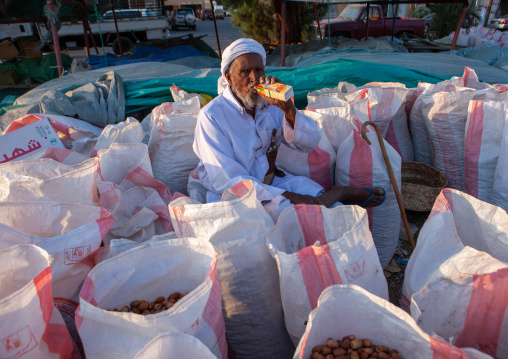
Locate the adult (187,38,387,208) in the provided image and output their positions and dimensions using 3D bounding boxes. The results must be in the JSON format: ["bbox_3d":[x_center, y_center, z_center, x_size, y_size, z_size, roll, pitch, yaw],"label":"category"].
[{"bbox_3d":[0.151,-0.405,2.439,1.202,1.162,0.823,10,23,25],"label":"adult"}]

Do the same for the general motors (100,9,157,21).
[{"bbox_3d":[-3.529,-4.721,9.532,1.093,0.303,0.759,-7,26,-12],"label":"general motors"}]

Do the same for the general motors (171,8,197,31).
[{"bbox_3d":[-4.367,-10.006,20.835,0.924,0.934,1.788,0,31,-6],"label":"general motors"}]

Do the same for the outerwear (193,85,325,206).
[{"bbox_3d":[0.077,-0.196,2.689,0.894,1.099,0.986,-14,24,-18],"label":"outerwear"}]

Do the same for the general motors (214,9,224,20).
[{"bbox_3d":[-3.184,-15.458,31.274,0.682,0.912,2.185,3,22,7],"label":"general motors"}]

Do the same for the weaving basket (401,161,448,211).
[{"bbox_3d":[1.501,0.040,3.098,0.386,0.224,0.511,-2,21,-3],"label":"weaving basket"}]

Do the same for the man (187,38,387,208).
[{"bbox_3d":[0.152,-0.406,2.442,1.201,1.162,0.817,10,23,25],"label":"man"}]

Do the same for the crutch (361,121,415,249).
[{"bbox_3d":[1.051,0.067,2.662,0.130,1.235,0.050,-13,11,28],"label":"crutch"}]

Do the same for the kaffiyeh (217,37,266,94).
[{"bbox_3d":[-0.118,-0.922,2.684,0.365,0.455,0.417,-12,32,-19],"label":"kaffiyeh"}]

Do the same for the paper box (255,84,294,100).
[{"bbox_3d":[0.153,-0.637,2.413,0.273,0.118,0.163,19,28,40],"label":"paper box"}]

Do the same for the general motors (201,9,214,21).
[{"bbox_3d":[-4.437,-15.266,30.892,0.895,1.091,1.875,-5,22,-12],"label":"general motors"}]
